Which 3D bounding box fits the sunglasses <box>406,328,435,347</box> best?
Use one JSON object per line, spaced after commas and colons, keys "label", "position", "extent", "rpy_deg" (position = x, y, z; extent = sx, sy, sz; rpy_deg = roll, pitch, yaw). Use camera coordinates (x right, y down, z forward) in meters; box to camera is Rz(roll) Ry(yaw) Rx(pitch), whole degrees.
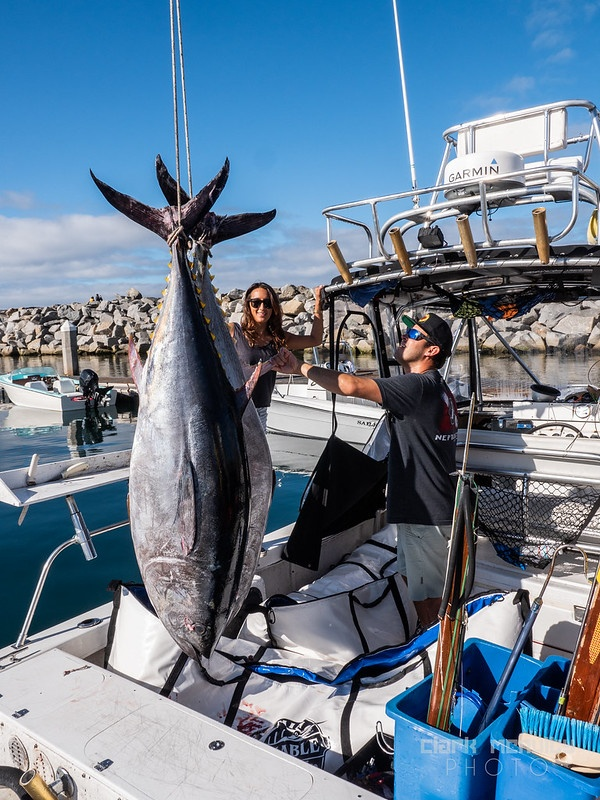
{"label": "sunglasses", "position": [0.528, -0.279, 2.735], "extent": [0.092, 0.025, 0.074], "rpy_deg": [18, -6, -7]}

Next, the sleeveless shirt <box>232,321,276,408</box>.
{"label": "sleeveless shirt", "position": [-0.218, -0.150, 2.884], "extent": [0.318, 0.332, 0.186], "rpy_deg": [6, -15, -5]}

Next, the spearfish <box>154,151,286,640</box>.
{"label": "spearfish", "position": [-0.203, 0.007, 1.962], "extent": [0.520, 1.340, 0.590], "rpy_deg": [2, -8, -28]}

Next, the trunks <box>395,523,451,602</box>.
{"label": "trunks", "position": [0.586, 0.682, 2.893], "extent": [0.247, 0.356, 0.396], "rpy_deg": [1, 16, 0]}

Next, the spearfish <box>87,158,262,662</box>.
{"label": "spearfish", "position": [-0.300, 0.037, 1.839], "extent": [0.344, 1.374, 0.426], "rpy_deg": [0, 3, 34]}
